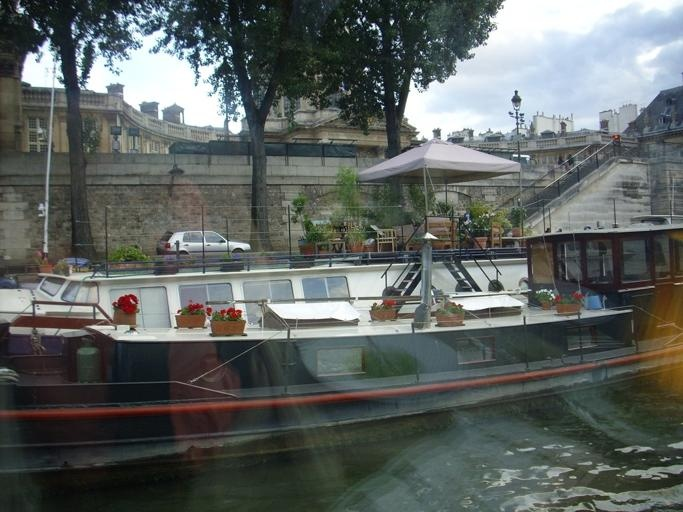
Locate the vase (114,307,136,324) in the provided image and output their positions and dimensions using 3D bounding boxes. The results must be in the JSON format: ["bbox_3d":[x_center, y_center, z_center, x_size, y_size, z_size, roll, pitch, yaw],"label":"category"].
[{"bbox_3d":[-4.498,1.256,16.948,0.348,0.244,0.352,0,-5,37],"label":"vase"}]

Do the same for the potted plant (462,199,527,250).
[{"bbox_3d":[4.422,-0.803,23.847,1.842,1.628,2.464,0,-1,0],"label":"potted plant"}]

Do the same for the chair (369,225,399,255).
[{"bbox_3d":[1.125,-0.448,22.435,0.788,0.982,0.654,-1,1,18],"label":"chair"}]

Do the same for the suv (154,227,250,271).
[{"bbox_3d":[-4.479,-0.031,25.693,3.228,1.259,1.513,-3,7,-17],"label":"suv"}]

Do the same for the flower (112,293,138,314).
[{"bbox_3d":[-4.458,1.039,17.084,0.435,0.208,0.427,17,-9,9],"label":"flower"}]
